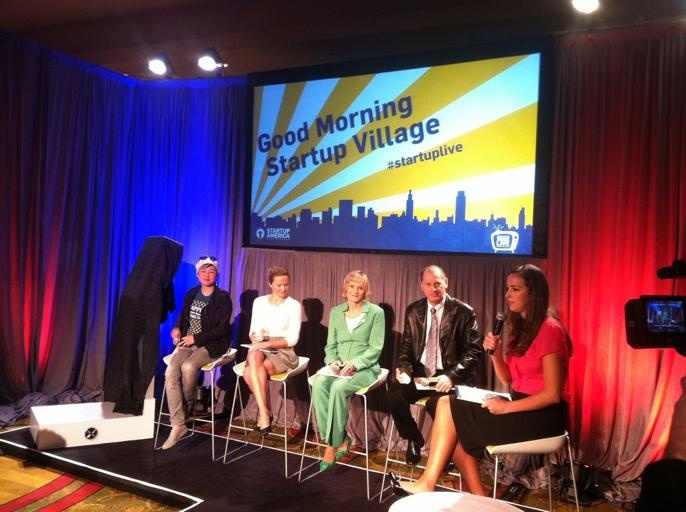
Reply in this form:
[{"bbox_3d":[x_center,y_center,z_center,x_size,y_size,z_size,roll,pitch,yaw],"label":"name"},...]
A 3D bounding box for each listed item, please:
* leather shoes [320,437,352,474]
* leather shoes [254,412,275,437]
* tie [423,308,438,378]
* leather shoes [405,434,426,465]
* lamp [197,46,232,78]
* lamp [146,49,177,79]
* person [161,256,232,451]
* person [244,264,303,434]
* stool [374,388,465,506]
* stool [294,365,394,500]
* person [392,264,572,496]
[{"bbox_3d":[-0.042,1.646,4.555,0.130,0.108,0.382,-32,-10,23],"label":"leather shoes"},{"bbox_3d":[-0.678,1.507,4.880,0.172,0.134,0.323,-6,-13,17],"label":"leather shoes"},{"bbox_3d":[0.734,0.713,4.631,0.109,0.584,0.035,3,0,36],"label":"tie"},{"bbox_3d":[0.575,1.560,4.468,0.102,0.137,0.278,-6,18,25],"label":"leather shoes"},{"bbox_3d":[-1.338,-2.011,5.721,0.309,0.320,0.224,-4,18,-27],"label":"lamp"},{"bbox_3d":[-1.945,-2.079,5.892,0.206,0.171,0.298,15,-28,-13],"label":"lamp"},{"bbox_3d":[-1.350,0.859,5.155,0.571,1.713,0.632,3,-3,-14],"label":"person"},{"bbox_3d":[-0.631,0.836,4.957,0.474,1.480,0.509,2,-3,-6],"label":"person"},{"bbox_3d":[0.568,1.473,4.598,0.651,1.328,0.669,0,-1,1],"label":"stool"},{"bbox_3d":[0.127,1.445,4.659,0.762,1.549,0.848,-2,-17,17],"label":"stool"},{"bbox_3d":[1.095,0.849,3.812,0.936,1.577,0.459,1,-3,16],"label":"person"}]
